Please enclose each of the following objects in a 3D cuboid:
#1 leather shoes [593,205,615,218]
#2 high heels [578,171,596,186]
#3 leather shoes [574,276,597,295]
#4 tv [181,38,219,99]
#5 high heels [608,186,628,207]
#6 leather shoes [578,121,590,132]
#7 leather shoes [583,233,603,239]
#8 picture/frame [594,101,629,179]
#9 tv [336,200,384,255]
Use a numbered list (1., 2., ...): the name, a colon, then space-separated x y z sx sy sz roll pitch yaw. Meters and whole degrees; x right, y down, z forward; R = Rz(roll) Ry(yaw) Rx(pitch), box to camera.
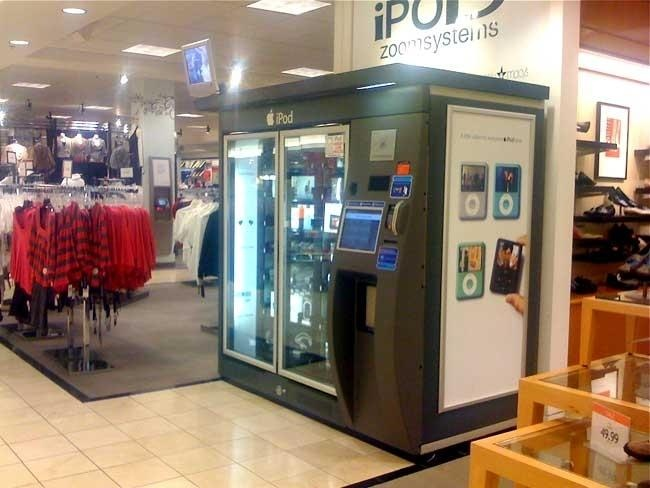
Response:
1. leather shoes: 2.539 -0.305 4.586 0.201 0.103 0.125 -1 6 -24
2. high heels: 2.371 -0.594 4.571 0.080 0.096 0.222 3 5 38
3. leather shoes: 2.305 0.368 4.474 0.262 0.147 0.107 0 5 -7
4. tv: -1.244 -1.759 5.062 0.234 0.621 0.567 -4 7 -40
5. high heels: 2.729 -0.438 4.727 0.074 0.090 0.226 -19 47 -26
6. leather shoes: 2.313 -1.044 4.512 0.065 0.086 0.203 -5 30 33
7. leather shoes: 2.448 -0.076 4.637 0.139 0.035 0.082 2 4 -13
8. picture/frame: 2.714 -0.961 4.806 0.374 0.673 0.054 1 1 -20
9. tv: 0.206 -0.118 3.595 0.416 0.381 0.044 1 18 -38
